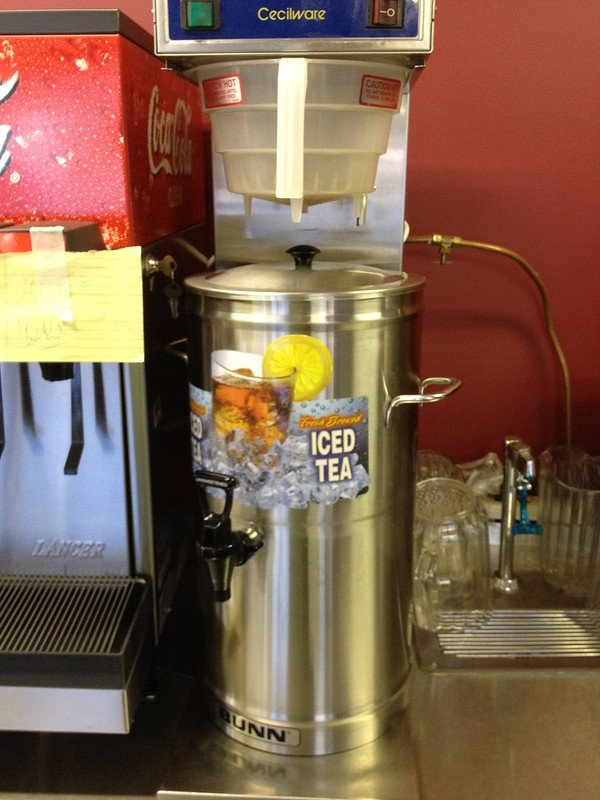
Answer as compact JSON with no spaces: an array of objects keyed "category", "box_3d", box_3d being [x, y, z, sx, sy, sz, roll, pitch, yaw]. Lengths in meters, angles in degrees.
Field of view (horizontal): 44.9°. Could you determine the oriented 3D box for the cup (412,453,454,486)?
[{"category":"cup","box_3d":[0.253,0.137,1.412,0.082,0.055,0.067,4,-9,-35]}]
